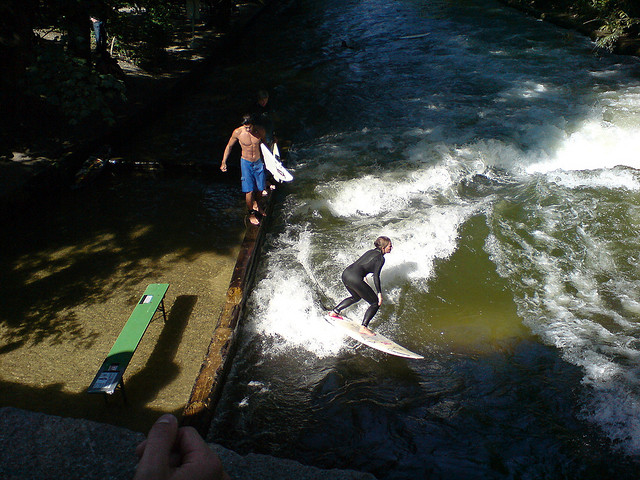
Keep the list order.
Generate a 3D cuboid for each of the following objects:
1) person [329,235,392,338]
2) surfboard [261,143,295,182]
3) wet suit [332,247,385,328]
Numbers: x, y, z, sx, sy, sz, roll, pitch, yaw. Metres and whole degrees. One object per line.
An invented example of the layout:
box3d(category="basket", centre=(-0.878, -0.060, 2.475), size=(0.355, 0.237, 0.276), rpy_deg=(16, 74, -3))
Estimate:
box3d(category="person", centre=(0.952, 0.816, 12.045), size=(1.041, 2.159, 1.419), rpy_deg=(13, 29, 5))
box3d(category="surfboard", centre=(-1.115, -1.982, 14.801), size=(0.534, 0.217, 1.695), rpy_deg=(55, 3, 18))
box3d(category="wet suit", centre=(0.862, 0.955, 11.863), size=(0.908, 1.801, 0.505), rpy_deg=(20, 31, 17))
